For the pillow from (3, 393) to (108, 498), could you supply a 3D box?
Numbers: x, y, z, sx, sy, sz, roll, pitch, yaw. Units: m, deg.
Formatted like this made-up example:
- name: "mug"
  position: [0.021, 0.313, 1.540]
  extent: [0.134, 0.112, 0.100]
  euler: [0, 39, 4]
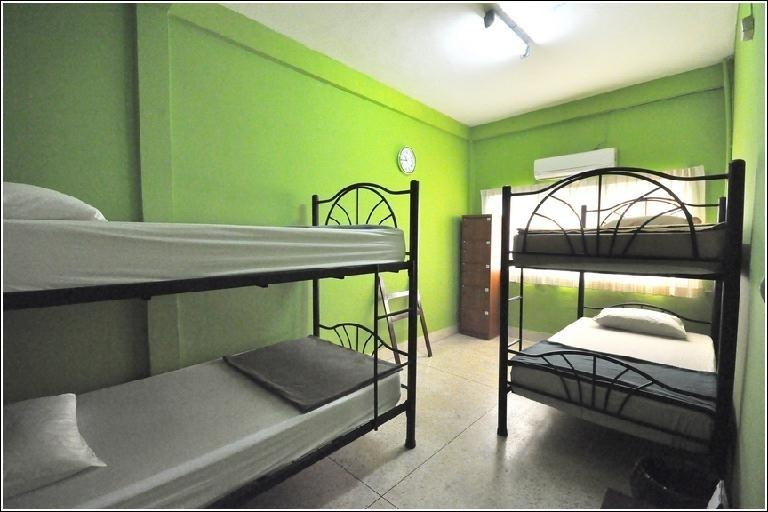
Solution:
- name: "pillow"
  position: [-2.229, 1.255, 3.664]
  extent: [0.546, 0.499, 0.641]
  euler: [-4, 7, -40]

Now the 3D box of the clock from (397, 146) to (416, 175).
- name: "clock"
  position: [0.258, -1.080, 6.232]
  extent: [0.050, 0.317, 0.305]
  euler: [6, 7, 37]

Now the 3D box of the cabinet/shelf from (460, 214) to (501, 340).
- name: "cabinet/shelf"
  position: [1.161, 0.243, 6.772]
  extent: [0.481, 1.501, 0.286]
  euler: [3, 7, 16]

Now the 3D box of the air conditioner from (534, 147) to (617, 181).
- name: "air conditioner"
  position: [2.060, -0.983, 5.869]
  extent: [0.739, 0.204, 0.151]
  euler: [-6, -12, 39]

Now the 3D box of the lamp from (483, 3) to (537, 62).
- name: "lamp"
  position: [1.103, -1.962, 4.819]
  extent: [0.230, 0.133, 0.547]
  euler: [-39, -41, 19]

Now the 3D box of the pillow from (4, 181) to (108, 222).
- name: "pillow"
  position: [-2.204, -0.364, 3.671]
  extent: [0.541, 0.229, 0.146]
  euler: [-1, 6, -26]

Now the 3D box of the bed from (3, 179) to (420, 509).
- name: "bed"
  position: [-1.346, 0.684, 4.083]
  extent: [2.676, 1.796, 1.097]
  euler: [-2, 3, -43]

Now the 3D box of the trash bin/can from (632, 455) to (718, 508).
- name: "trash bin/can"
  position: [2.073, 1.608, 3.955]
  extent: [0.543, 0.268, 0.327]
  euler: [3, 6, 26]

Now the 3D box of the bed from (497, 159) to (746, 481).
- name: "bed"
  position: [2.143, 0.331, 5.001]
  extent: [1.822, 2.281, 2.203]
  euler: [4, 7, 30]
